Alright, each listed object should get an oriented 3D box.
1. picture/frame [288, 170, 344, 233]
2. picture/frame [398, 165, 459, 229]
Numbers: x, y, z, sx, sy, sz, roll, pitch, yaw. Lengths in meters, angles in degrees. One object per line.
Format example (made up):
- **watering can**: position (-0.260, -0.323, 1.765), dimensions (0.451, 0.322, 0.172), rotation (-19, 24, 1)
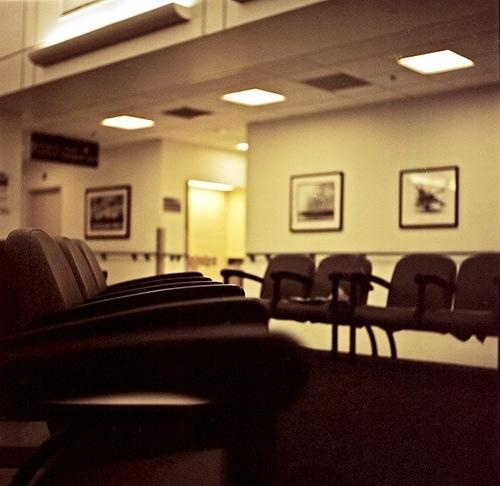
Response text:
- **picture/frame**: position (0.132, -0.078, 0.873), dimensions (0.124, 0.116, 0.009), rotation (-1, -1, 34)
- **picture/frame**: position (0.255, -0.063, 0.643), dimensions (0.007, 0.088, 0.089), rotation (4, -4, -38)
